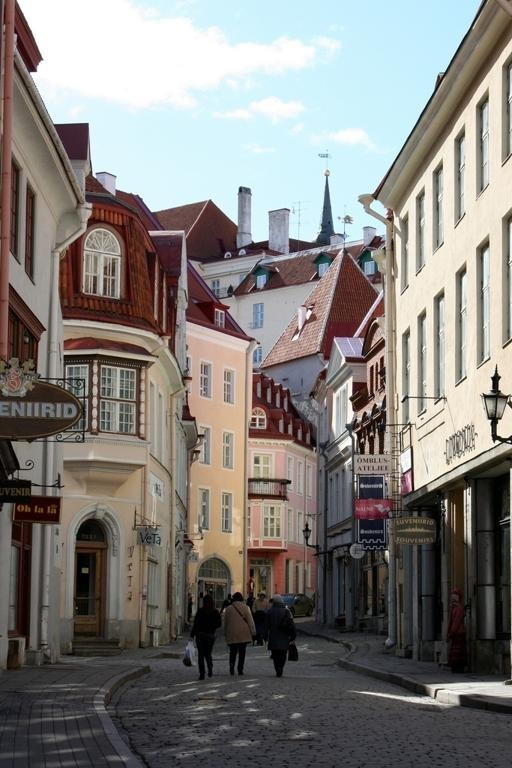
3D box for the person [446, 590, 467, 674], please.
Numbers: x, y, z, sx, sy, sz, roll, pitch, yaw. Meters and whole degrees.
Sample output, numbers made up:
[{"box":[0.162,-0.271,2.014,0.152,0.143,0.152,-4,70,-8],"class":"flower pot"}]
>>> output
[{"box":[3.381,4.142,18.756,0.290,1.312,0.972,-3,-14,10],"class":"person"}]
